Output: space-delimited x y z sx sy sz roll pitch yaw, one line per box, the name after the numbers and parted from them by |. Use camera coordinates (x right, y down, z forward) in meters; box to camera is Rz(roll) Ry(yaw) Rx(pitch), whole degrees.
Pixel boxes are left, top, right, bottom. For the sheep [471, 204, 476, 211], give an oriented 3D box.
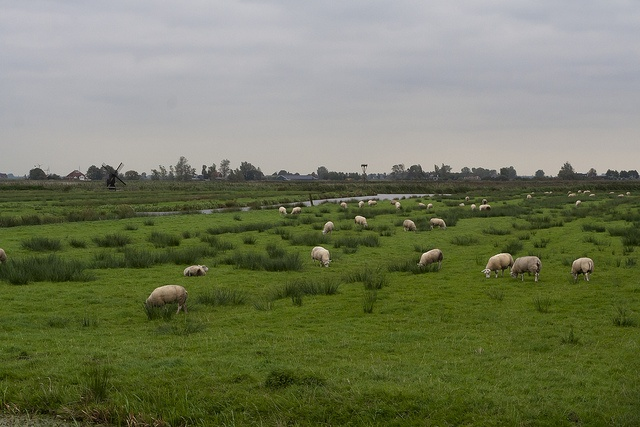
11.558 -0.376 53.126 0.410 0.690 1.292 3 12 10 | sheep

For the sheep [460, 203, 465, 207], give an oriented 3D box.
11.491 -0.622 57.096 0.279 0.326 0.585 7 4 27 | sheep

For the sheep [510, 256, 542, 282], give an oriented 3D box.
7.774 2.087 26.427 1.104 0.911 0.871 -1 2 37 | sheep

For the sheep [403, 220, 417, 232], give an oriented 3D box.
5.012 0.716 39.246 0.697 0.602 1.037 -2 1 7 | sheep

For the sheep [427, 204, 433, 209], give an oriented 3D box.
8.643 -0.487 55.357 0.282 0.329 0.594 4 7 19 | sheep

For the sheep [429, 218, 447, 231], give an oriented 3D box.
6.650 0.635 39.814 0.863 0.592 1.381 -2 1 8 | sheep

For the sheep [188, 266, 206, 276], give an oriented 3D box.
-4.686 2.240 27.025 0.694 0.383 0.268 -2 7 -16 | sheep

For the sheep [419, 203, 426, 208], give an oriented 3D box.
8.079 -0.573 55.733 0.371 0.440 0.792 7 5 16 | sheep

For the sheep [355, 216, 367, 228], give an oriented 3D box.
2.480 0.520 41.526 0.336 0.562 1.007 -8 21 -43 | sheep

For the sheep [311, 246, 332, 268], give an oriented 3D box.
0.075 1.842 29.327 0.456 0.753 1.213 -3 2 -29 | sheep

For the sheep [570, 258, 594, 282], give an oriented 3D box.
9.697 2.084 26.071 0.721 0.781 0.949 -2 2 15 | sheep

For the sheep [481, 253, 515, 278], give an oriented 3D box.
6.848 2.033 27.150 1.220 0.840 1.097 -2 1 1 | sheep

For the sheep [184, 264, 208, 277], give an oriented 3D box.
-4.765 2.190 27.173 0.991 0.549 0.355 -4 10 -12 | sheep
